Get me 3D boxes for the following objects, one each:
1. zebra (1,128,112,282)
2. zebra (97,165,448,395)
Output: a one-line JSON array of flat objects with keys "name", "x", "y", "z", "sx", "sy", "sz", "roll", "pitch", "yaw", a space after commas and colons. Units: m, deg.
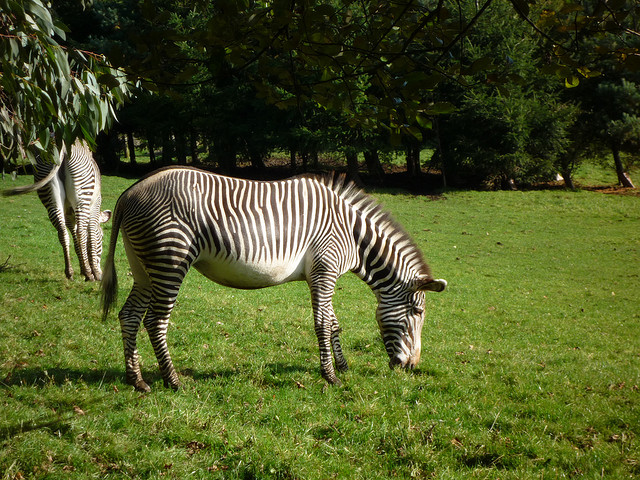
[{"name": "zebra", "x": -6.234, "y": -0.731, "z": 16.759, "sx": 1.577, "sy": 3.530, "sz": 2.794, "roll": -1, "pitch": 9, "yaw": -18}, {"name": "zebra", "x": -0.901, "y": 0.903, "z": 13.611, "sx": 6.894, "sy": 4.402, "sz": 1.947, "roll": 4, "pitch": -2, "yaw": -17}]
